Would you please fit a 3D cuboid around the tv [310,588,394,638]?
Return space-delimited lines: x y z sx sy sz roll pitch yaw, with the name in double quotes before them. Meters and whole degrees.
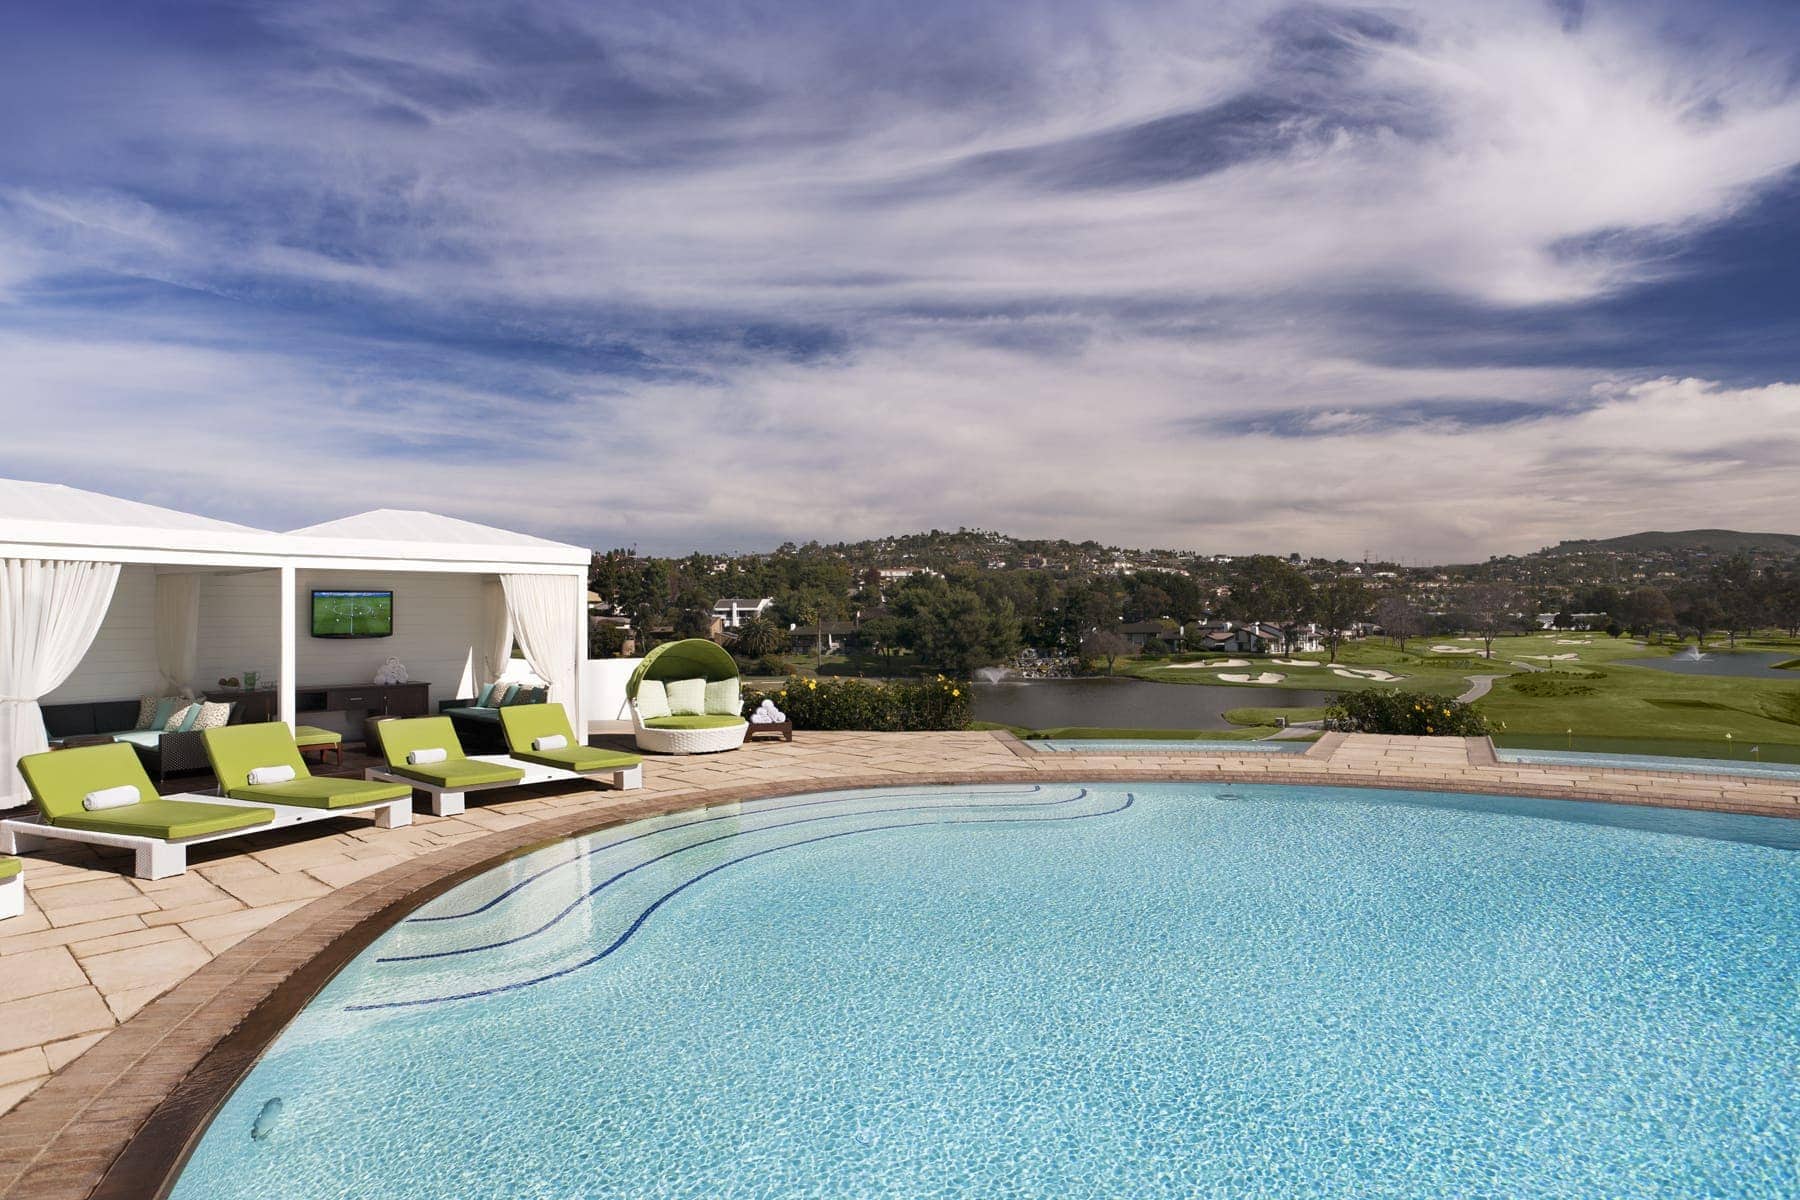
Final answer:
"tv" -9.241 0.208 17.651 1.236 0.585 0.154 0 4 -29

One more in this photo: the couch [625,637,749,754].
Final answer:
"couch" -3.249 1.551 17.337 2.408 1.566 2.193 4 -5 -43

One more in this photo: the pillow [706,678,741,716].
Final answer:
"pillow" -2.932 1.606 17.334 0.957 0.588 0.280 0 -3 -2

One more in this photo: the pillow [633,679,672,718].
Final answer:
"pillow" -4.005 1.591 16.866 0.234 0.502 0.692 -8 2 28

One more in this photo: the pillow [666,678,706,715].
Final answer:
"pillow" -3.499 1.596 17.150 0.751 0.497 0.215 9 -15 2
